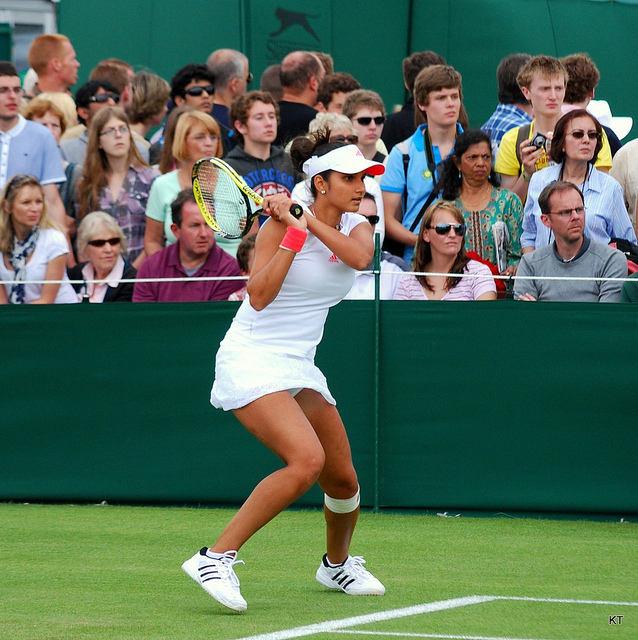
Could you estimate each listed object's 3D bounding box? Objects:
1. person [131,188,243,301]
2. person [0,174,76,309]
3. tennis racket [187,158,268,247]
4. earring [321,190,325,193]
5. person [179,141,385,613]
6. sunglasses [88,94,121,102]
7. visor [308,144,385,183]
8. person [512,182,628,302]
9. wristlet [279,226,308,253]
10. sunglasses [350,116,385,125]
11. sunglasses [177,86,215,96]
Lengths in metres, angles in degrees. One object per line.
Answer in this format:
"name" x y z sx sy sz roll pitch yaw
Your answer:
"person" -0.753 -0.427 8.202 0.773 0.883 0.327 0 -17 -10
"person" -1.736 -0.488 8.586 0.459 0.810 0.707 0 4 -10
"tennis racket" -0.496 -0.597 7.287 0.085 0.281 0.742 -17 23 -32
"earring" 0.022 -0.561 6.068 0.015 0.013 0.003 2 -4 -3
"person" -0.130 0.229 6.041 0.930 2.003 0.510 0 4 -23
"sunglasses" -1.579 -1.613 10.127 0.114 0.029 0.110 0 -13 -40
"visor" 0.113 -0.679 6.052 0.266 0.091 0.169 -6 -1 28
"person" 1.450 -0.369 8.064 0.695 0.816 0.464 0 5 20
"wristlet" -0.098 -0.338 5.894 0.099 0.103 0.100 38 5 7
"sunglasses" 0.351 -1.357 9.500 0.237 0.057 0.077 0 4 -19
"sunglasses" -0.885 -1.638 10.014 0.120 0.037 0.138 -11 4 -38
